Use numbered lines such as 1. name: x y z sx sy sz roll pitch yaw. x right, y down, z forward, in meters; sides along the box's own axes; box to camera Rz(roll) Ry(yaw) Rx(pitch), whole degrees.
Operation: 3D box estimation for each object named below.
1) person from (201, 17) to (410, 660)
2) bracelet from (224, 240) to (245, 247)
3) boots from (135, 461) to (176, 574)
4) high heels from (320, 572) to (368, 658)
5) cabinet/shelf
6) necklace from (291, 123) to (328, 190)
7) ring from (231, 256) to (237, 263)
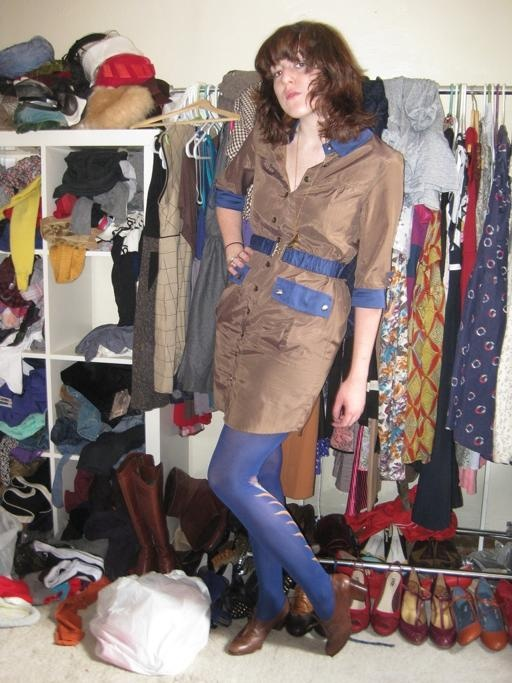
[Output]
1. person: 0.095 -0.008 1.389 0.392 1.433 0.355 3 9 -3
2. bracelet: -0.062 -0.278 1.548 0.039 0.010 0.043 2 -3 -14
3. boots: -0.369 0.634 1.957 0.130 0.386 0.210 -2 11 -34
4. high heels: 0.268 0.776 1.630 0.144 0.149 0.411 -17 -20 2
5. cabinet/shelf: -0.705 -0.022 2.312 0.867 1.576 0.623 6 9 14
6. necklace: 0.123 -0.422 1.305 0.048 0.156 0.089 8 -2 -43
7. ring: -0.060 -0.220 1.471 0.014 0.018 0.007 2 14 27
